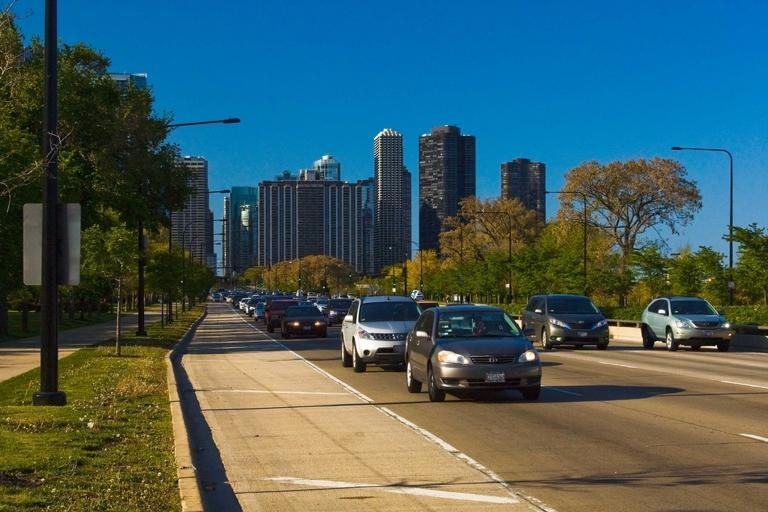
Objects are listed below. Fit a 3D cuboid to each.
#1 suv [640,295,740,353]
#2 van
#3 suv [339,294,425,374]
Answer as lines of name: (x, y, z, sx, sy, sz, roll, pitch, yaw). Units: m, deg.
suv: (11.864, 2.632, 39.130, 2.399, 2.052, 4.942, 0, -2, -5)
van: (7.125, 2.588, 39.220, 2.572, 1.982, 5.256, 1, -3, -7)
suv: (-0.095, 2.287, 31.374, 2.637, 2.235, 4.913, -2, 4, -9)
